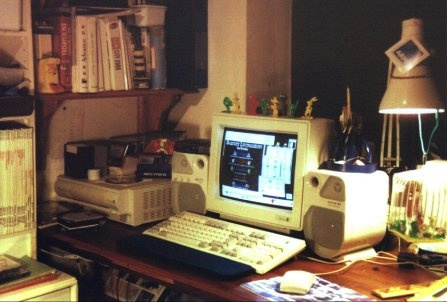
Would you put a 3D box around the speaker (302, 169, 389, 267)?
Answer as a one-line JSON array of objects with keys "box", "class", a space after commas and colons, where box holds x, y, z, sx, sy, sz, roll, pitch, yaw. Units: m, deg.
[{"box": [0.527, 0.266, 1.733, 0.473, 0.461, 0.264, 0, 1, -33], "class": "speaker"}]

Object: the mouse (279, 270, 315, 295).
[{"box": [0.276, 0.503, 1.523, 0.121, 0.065, 0.070, 3, 7, 8], "class": "mouse"}]

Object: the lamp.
[{"box": [0.893, -0.264, 1.867, 0.292, 0.728, 0.323, 5, 7, 20], "class": "lamp"}]

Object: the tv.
[{"box": [0.236, 0.100, 1.874, 0.572, 0.518, 0.311, 7, 5, 35], "class": "tv"}]

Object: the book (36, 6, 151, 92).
[{"box": [-0.705, -0.487, 2.397, 0.467, 0.590, 0.632, 5, 9, 43], "class": "book"}]
